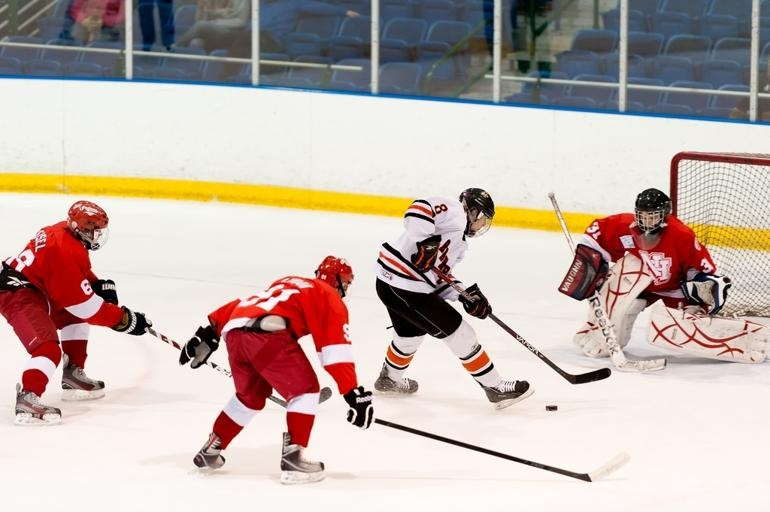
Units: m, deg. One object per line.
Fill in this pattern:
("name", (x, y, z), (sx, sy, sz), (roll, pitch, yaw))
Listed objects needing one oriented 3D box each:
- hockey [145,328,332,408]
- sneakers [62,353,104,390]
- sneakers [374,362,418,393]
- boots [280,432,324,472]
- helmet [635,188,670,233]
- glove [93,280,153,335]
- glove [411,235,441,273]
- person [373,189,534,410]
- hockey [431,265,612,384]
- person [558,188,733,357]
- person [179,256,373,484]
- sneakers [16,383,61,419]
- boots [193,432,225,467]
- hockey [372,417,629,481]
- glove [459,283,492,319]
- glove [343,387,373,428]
("hockey", (-0.798, 0.629, 5.491), (0.950, 0.115, 0.120), (25, 24, 12))
("sneakers", (-1.806, 0.716, 5.954), (0.117, 0.254, 0.302), (-2, -6, 37))
("sneakers", (0.072, 0.752, 6.130), (0.347, 0.212, 0.113), (-2, 8, -4))
("boots", (-0.418, 1.020, 5.093), (0.272, 0.215, 0.090), (11, -10, -28))
("helmet", (1.735, -0.295, 6.393), (0.300, 0.234, 0.232), (-15, 15, -37))
("glove", (-1.547, 0.333, 5.957), (0.260, 0.122, 0.416), (18, -18, 39))
("glove", (0.253, -0.018, 5.891), (0.153, 0.216, 0.082), (30, 22, 4))
("person", (0.387, 0.228, 5.935), (0.895, 1.271, 0.345), (5, 7, -1))
("hockey", (0.914, 0.480, 6.589), (1.218, 0.136, 0.177), (34, 13, 32))
("person", (1.711, 0.165, 6.507), (1.104, 1.054, 0.706), (5, 13, 22))
("person", (-0.484, 0.625, 5.125), (0.886, 1.014, 0.295), (5, 7, 0))
("sneakers", (-1.912, 0.826, 5.583), (0.307, 0.194, 0.102), (-1, 0, 13))
("boots", (-0.911, 1.008, 5.156), (0.182, 0.157, 0.110), (8, -8, -31))
("hockey", (0.628, 1.052, 5.384), (1.174, 0.129, 0.165), (8, 39, 29))
("glove", (0.571, 0.288, 6.014), (0.220, 0.085, 0.160), (21, 34, -59))
("glove", (-0.122, 0.759, 5.058), (0.178, 0.193, 0.086), (-4, 4, -2))
